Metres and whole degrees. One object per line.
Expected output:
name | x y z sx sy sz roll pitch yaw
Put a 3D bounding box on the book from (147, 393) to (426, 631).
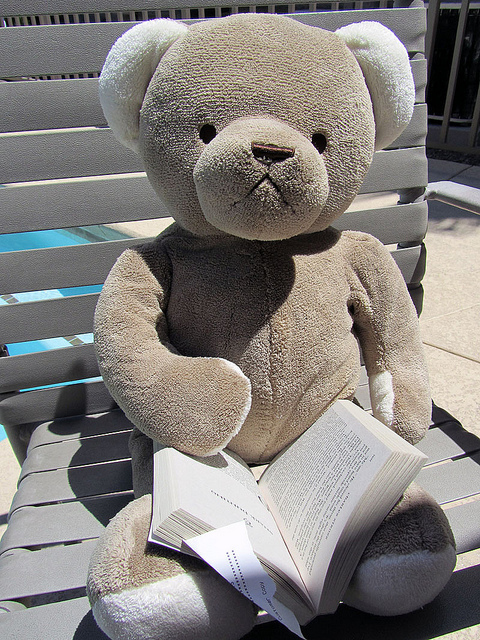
book | 0.052 0.225 0.662 0.341 0.186 0.274 -14 36 -16
